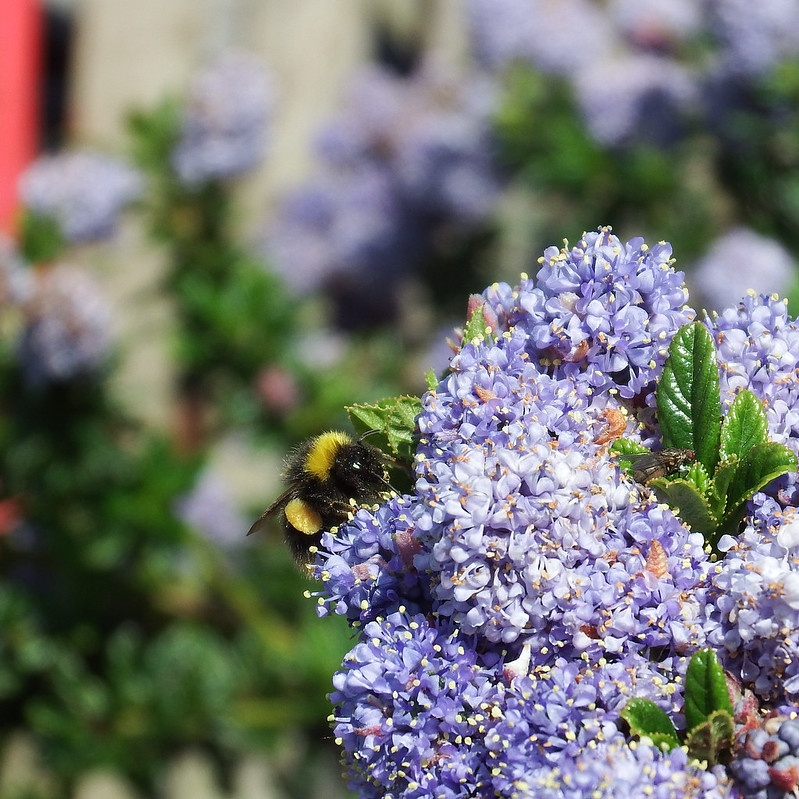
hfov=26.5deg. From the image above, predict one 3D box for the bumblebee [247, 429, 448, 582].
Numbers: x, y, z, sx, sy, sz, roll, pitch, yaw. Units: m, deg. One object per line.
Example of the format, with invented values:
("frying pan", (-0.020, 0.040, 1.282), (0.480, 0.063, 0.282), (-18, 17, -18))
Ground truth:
("bumblebee", (-0.140, 0.165, 3.111), (0.247, 0.158, 0.286), (1, 29, 20))
